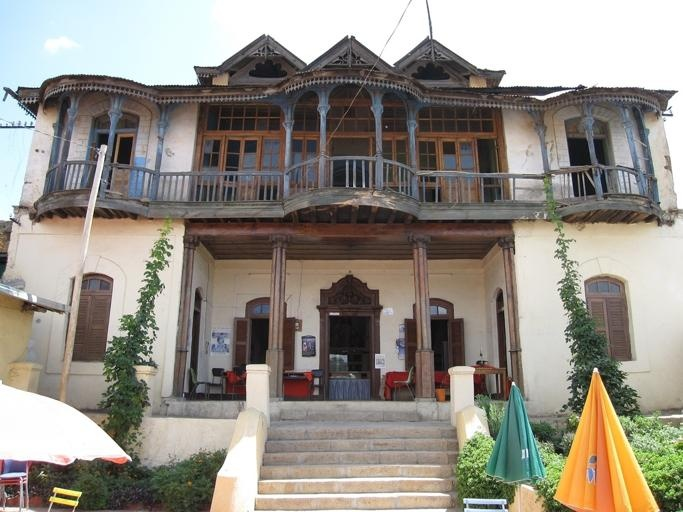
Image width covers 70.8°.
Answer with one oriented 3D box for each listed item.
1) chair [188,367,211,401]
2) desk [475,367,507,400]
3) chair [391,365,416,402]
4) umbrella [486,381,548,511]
[{"bbox_3d":[-4.118,3.671,13.859,0.587,0.906,2.050,3,-15,-14],"label":"chair"},{"bbox_3d":[3.888,3.388,12.873,0.907,0.780,0.712,2,-7,5],"label":"desk"},{"bbox_3d":[1.717,3.558,13.372,0.842,1.194,0.738,1,-25,3],"label":"chair"},{"bbox_3d":[2.401,2.512,6.829,0.751,1.315,0.263,-5,-15,16],"label":"umbrella"}]
